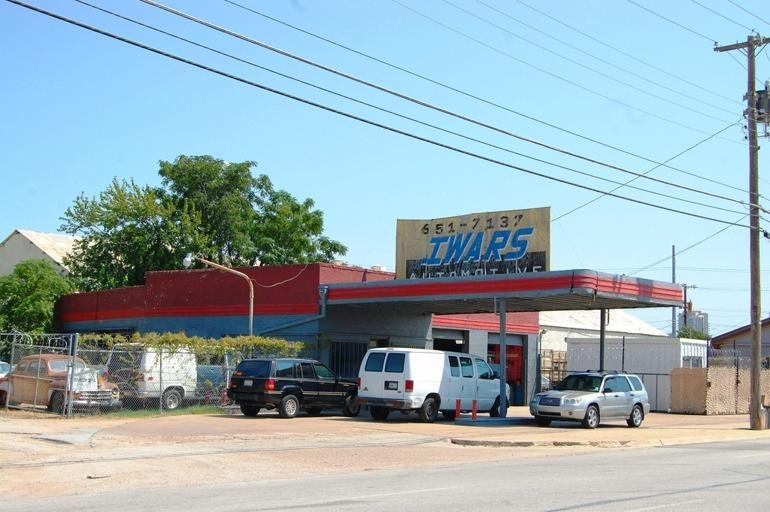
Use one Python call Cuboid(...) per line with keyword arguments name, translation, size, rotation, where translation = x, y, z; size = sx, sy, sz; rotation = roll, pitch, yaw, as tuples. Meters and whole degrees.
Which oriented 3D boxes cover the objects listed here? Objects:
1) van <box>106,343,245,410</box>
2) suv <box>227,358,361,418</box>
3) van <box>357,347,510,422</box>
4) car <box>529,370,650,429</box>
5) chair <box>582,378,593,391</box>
Cuboid(name="van", translation=(-8.983, 5.124, 34.100), size=(4.282, 1.916, 2.468), rotation=(0, -2, -38))
Cuboid(name="suv", translation=(-3.786, 5.393, 33.253), size=(4.743, 2.037, 2.596), rotation=(1, -4, -44))
Cuboid(name="van", translation=(1.965, 5.361, 33.258), size=(5.184, 2.200, 2.822), rotation=(2, -5, -44))
Cuboid(name="car", translation=(8.415, 5.977, 32.598), size=(4.914, 2.294, 1.546), rotation=(3, -3, -33))
Cuboid(name="chair", translation=(8.138, 5.261, 32.153), size=(0.275, 0.408, 0.429), rotation=(3, -14, 12))
